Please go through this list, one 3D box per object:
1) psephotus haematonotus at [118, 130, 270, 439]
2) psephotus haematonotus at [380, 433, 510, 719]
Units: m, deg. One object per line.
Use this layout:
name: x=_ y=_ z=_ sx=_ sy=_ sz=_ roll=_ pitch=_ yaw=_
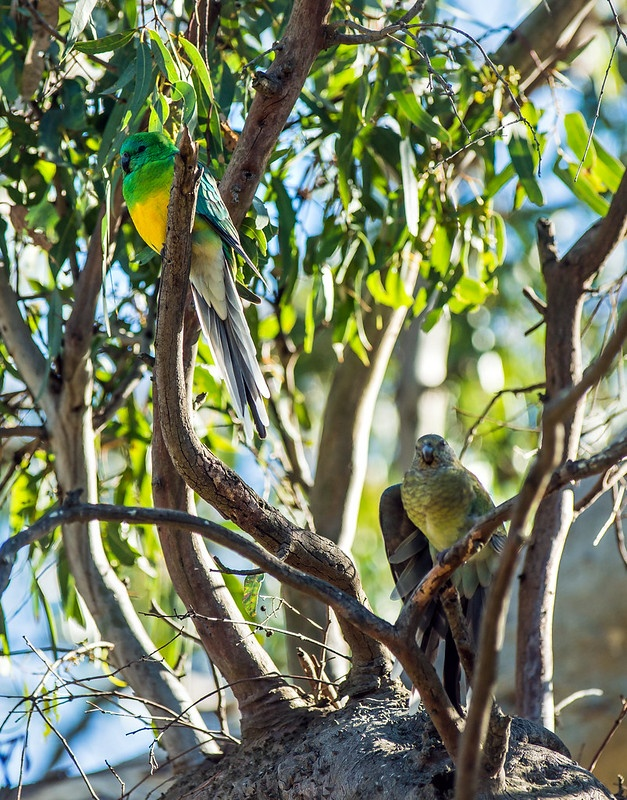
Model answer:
psephotus haematonotus: x=-0.335 y=-0.408 z=4.140 sx=0.211 sy=0.385 sz=0.881 roll=-13 pitch=-45 yaw=29
psephotus haematonotus: x=0.434 y=0.524 z=4.421 sx=0.308 sy=0.922 sz=0.526 roll=-8 pitch=-2 yaw=16
